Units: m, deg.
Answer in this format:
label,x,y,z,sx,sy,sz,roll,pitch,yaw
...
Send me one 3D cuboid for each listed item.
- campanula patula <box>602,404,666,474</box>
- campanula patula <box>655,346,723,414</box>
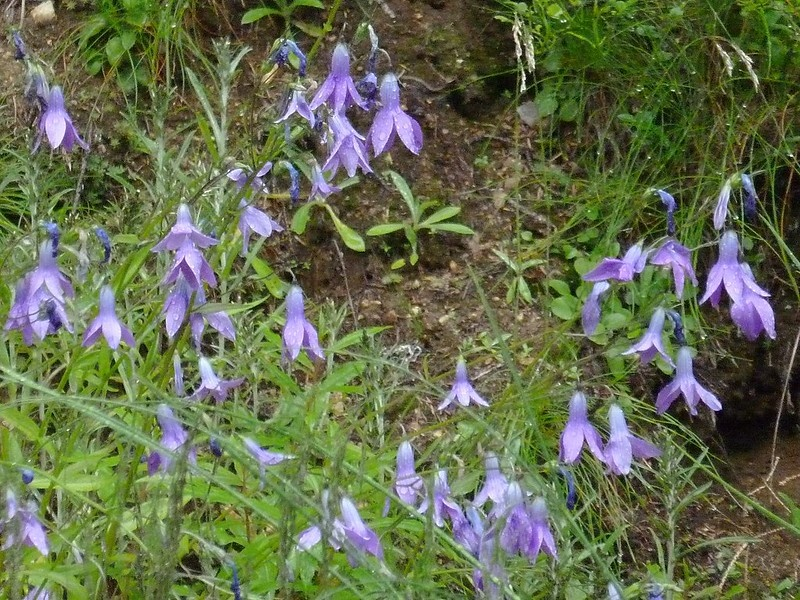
label,x,y,z,sx,sy,sz,roll,pitch,yaw
campanula patula,0.796,0.508,3.528,0.142,0.302,0.125,-4,12,-20
campanula patula,1.084,0.329,3.710,0.233,0.220,0.350,-6,80,30
